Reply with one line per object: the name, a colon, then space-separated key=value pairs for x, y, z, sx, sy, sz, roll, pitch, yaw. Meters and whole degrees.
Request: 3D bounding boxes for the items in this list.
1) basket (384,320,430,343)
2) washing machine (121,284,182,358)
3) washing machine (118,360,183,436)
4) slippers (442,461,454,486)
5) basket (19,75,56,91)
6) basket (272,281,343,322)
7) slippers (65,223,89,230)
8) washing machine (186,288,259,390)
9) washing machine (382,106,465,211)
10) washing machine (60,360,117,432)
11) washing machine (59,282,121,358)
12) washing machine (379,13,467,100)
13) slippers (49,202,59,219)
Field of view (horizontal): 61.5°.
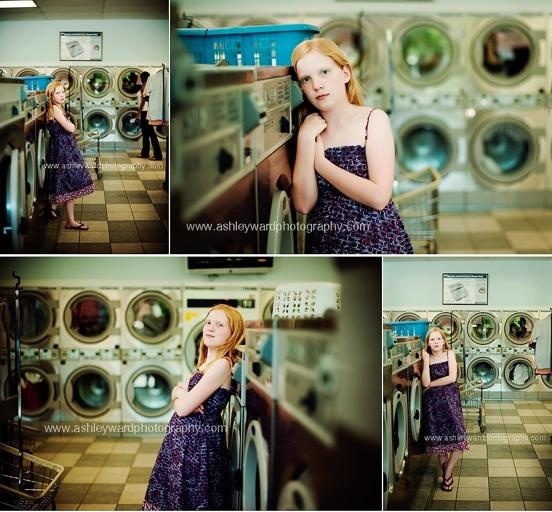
basket: x=0.707 y=0.401 z=2.506 sx=0.171 sy=0.092 sz=0.125 roll=-1 pitch=-5 yaw=6
washing machine: x=-0.672 y=0.323 z=2.567 sx=0.325 sy=0.413 sz=0.270 roll=0 pitch=10 yaw=-11
washing machine: x=-0.673 y=0.719 z=2.570 sx=0.298 sy=0.489 sz=0.316 roll=1 pitch=13 yaw=-13
slippers: x=0.930 y=1.172 z=2.513 sx=0.044 sy=0.150 sz=0.037 roll=-3 pitch=4 yaw=5
basket: x=-1.255 y=-0.916 z=2.444 sx=0.078 sy=0.084 sz=0.117 roll=8 pitch=11 yaw=44
basket: x=0.102 y=0.240 z=2.491 sx=0.209 sy=0.132 sz=0.219 roll=5 pitch=-10 yaw=-15
slippers: x=-1.065 y=-0.159 z=2.492 sx=0.105 sy=0.050 sz=0.044 roll=-2 pitch=6 yaw=-1
washing machine: x=-0.284 y=0.518 z=2.408 sx=0.413 sy=0.357 sz=0.641 roll=3 pitch=37 yaw=-11
washing machine: x=0.701 y=-0.547 z=2.560 sx=0.369 sy=0.641 sz=0.391 roll=-1 pitch=6 yaw=4
washing machine: x=-0.982 y=0.715 z=2.520 sx=0.273 sy=0.398 sz=0.264 roll=3 pitch=-3 yaw=-23
washing machine: x=-1.006 y=0.335 z=2.505 sx=0.298 sy=0.361 sz=0.236 roll=3 pitch=-1 yaw=-30
washing machine: x=0.751 y=-1.053 z=2.471 sx=0.341 sy=0.390 sz=0.426 roll=-6 pitch=26 yaw=5
slippers: x=-1.168 y=-0.250 z=2.478 sx=0.069 sy=0.092 sz=0.033 roll=0 pitch=5 yaw=-16
